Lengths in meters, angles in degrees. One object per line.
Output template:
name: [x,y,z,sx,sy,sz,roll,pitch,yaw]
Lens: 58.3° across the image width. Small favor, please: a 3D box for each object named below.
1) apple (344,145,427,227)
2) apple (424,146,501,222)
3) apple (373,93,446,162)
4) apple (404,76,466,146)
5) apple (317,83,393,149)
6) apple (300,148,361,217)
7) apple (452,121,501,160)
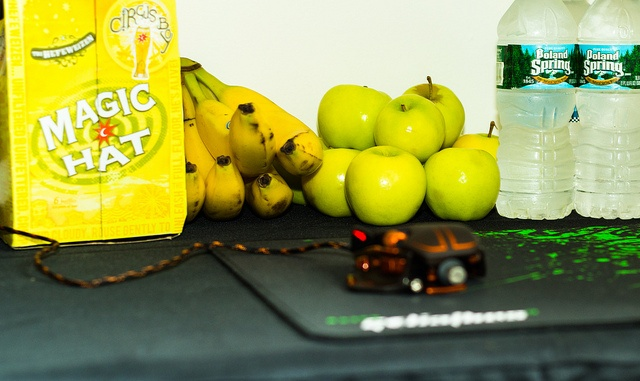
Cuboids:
apple: [0.120,-0.009,1.168,0.159,0.127,0.150,0,5,-9]
apple: [0.302,-0.016,1.201,0.175,0.146,0.167,-2,-5,8]
apple: [0.185,-0.132,1.229,0.146,0.127,0.133,-12,29,-7]
apple: [0.220,-0.178,1.311,0.168,0.170,0.150,-2,17,2]
apple: [0.079,-0.159,1.292,0.173,0.145,0.174,0,-2,40]
apple: [0.018,-0.020,1.240,0.145,0.122,0.134,-9,3,-14]
apple: [0.348,-0.107,1.304,0.097,0.093,0.095,19,2,19]
